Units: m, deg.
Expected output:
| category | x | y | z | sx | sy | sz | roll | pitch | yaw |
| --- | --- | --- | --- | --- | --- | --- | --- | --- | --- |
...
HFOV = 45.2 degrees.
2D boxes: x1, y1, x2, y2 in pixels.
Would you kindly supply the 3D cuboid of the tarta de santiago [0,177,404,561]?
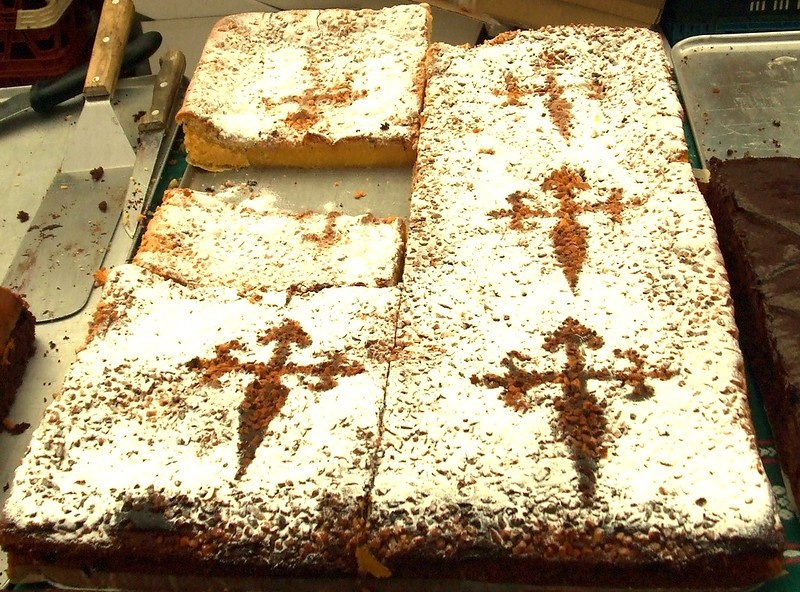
| category | x | y | z | sx | sy | sz | roll | pitch | yaw |
| --- | --- | --- | --- | --- | --- | --- | --- | --- | --- |
| tarta de santiago | -0.544 | 0.245 | 3.046 | 1.067 | 0.167 | 1.291 | 9 | 57 | 9 |
